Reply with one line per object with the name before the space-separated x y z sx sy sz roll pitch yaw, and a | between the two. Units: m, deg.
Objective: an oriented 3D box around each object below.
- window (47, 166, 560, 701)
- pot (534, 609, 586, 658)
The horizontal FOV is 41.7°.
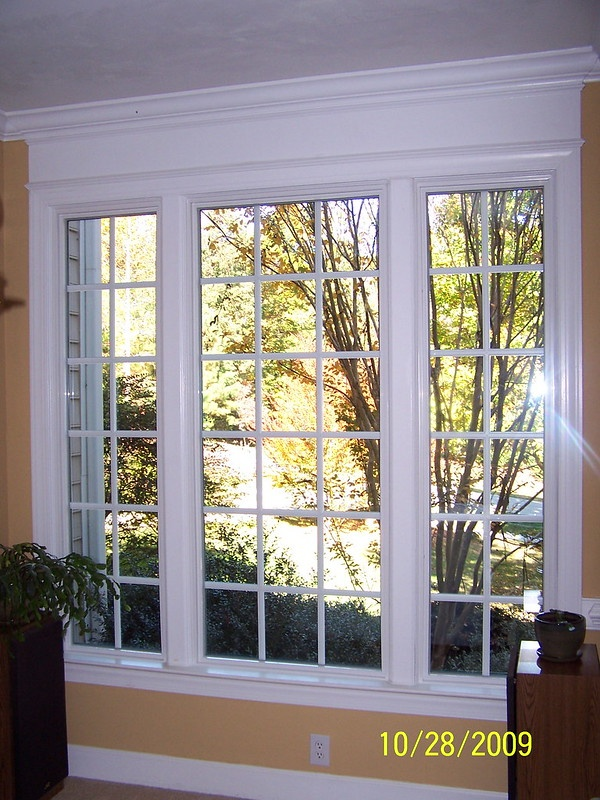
window | 0.083 0.130 2.916 2.357 1.973 0.180 0 0 14
pot | 0.784 0.722 2.383 0.154 0.107 0.145 -1 -3 0
